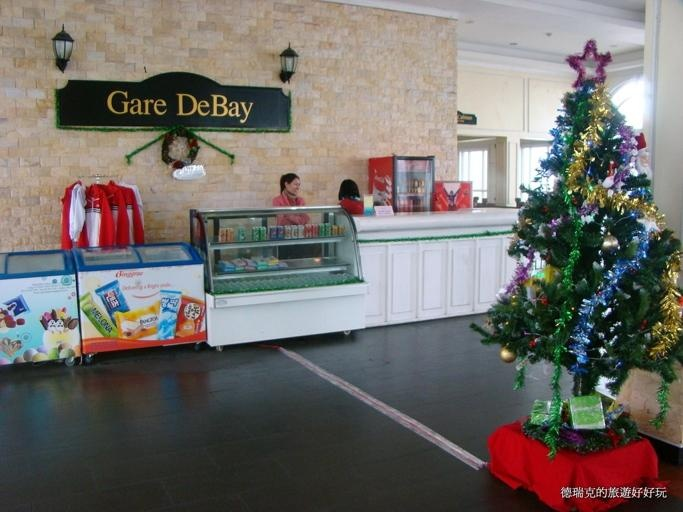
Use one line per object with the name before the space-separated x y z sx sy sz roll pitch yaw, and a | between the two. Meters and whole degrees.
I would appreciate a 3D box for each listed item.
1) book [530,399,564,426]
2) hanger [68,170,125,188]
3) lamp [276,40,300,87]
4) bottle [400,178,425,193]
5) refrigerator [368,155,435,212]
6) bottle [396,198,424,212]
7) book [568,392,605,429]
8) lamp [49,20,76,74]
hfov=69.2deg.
book | 1.325 1.001 3.232 0.210 0.203 0.058 -9 -42 42
hanger | -3.309 -1.039 6.668 0.585 0.185 0.110 -5 9 -30
lamp | -0.762 -2.888 7.396 0.315 0.596 0.302 -2 8 -14
bottle | 1.122 -1.087 7.735 0.387 0.215 0.263 1 4 -10
refrigerator | 1.116 -1.150 7.988 0.655 0.973 0.663 -1 21 0
bottle | 1.101 -0.808 7.735 0.484 0.240 0.118 -6 10 -34
book | 1.573 0.996 3.118 0.286 0.207 0.118 -2 8 -8
lamp | -3.559 -2.612 6.356 0.267 0.479 0.270 -5 9 -29
